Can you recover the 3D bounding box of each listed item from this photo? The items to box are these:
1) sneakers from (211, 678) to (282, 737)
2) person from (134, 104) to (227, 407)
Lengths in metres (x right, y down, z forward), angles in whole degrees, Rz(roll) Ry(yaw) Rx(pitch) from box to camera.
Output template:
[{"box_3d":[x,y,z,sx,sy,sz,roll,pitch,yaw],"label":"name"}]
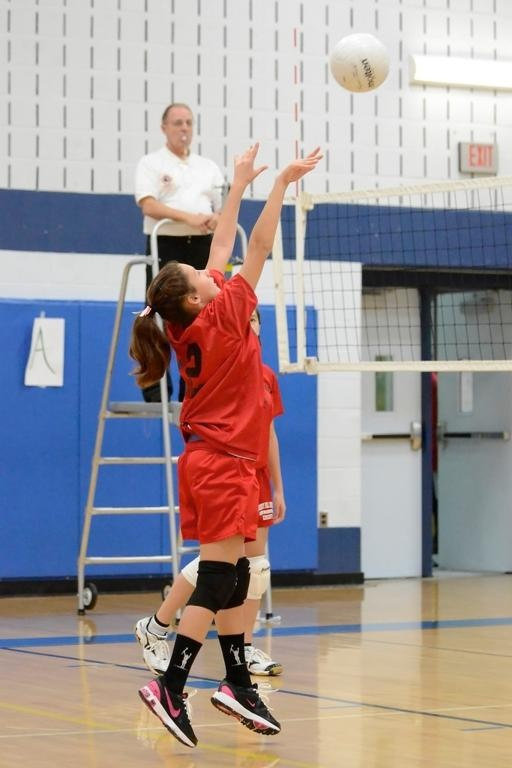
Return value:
[{"box_3d":[-0.027,0.860,2.937,0.163,0.132,0.123,1,-2,-25],"label":"sneakers"},{"box_3d":[-0.305,-0.558,4.931,0.432,1.353,0.381,-1,4,-38],"label":"person"}]
